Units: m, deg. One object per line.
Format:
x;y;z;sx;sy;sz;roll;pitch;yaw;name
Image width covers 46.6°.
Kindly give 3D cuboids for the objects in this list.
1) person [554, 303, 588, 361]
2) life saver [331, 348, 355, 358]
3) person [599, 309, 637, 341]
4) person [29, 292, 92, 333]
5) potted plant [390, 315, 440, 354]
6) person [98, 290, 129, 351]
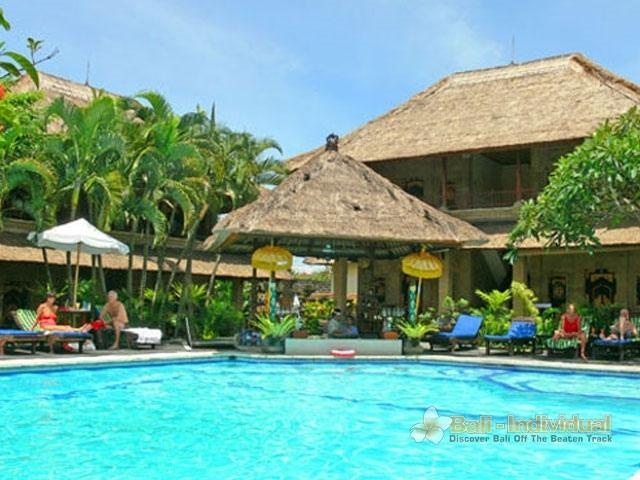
7.392;2.716;22.168;1.010;1.522;1.152;-3;1;-8;person
0.670;3.353;21.927;0.707;0.235;0.627;1;-8;0;life saver
8.802;2.497;22.013;0.936;1.071;0.829;4;-5;-15;person
-7.464;2.071;21.000;1.638;1.061;1.019;2;-2;16;person
2.974;2.979;23.375;1.104;0.842;1.069;8;-9;-39;potted plant
-6.232;2.426;22.268;0.871;1.699;1.036;0;-4;-17;person
